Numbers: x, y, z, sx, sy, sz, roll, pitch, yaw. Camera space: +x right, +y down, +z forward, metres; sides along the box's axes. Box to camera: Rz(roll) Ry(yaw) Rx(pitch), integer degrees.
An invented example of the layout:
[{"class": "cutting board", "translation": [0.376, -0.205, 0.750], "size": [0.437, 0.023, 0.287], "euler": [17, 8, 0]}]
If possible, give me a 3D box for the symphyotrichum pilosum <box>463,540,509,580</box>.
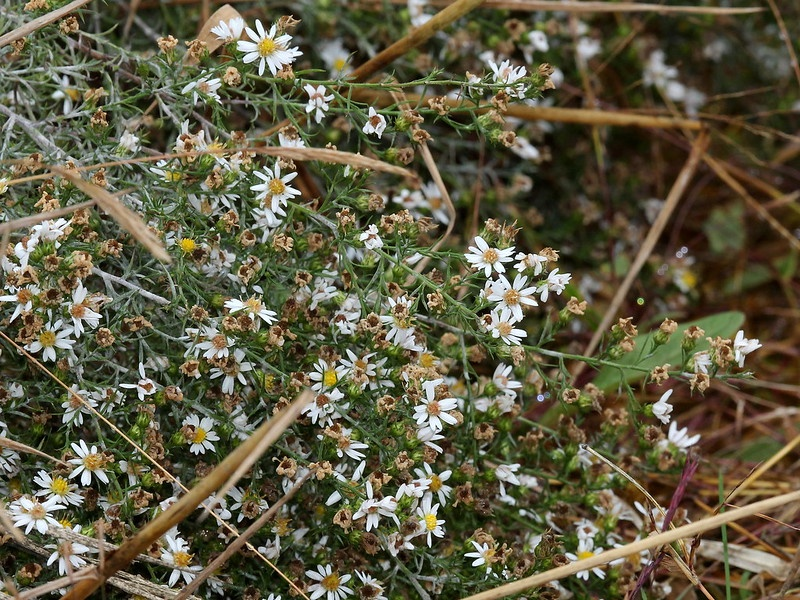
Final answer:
[{"class": "symphyotrichum pilosum", "translation": [0.224, 0.656, 2.211], "size": [0.087, 0.038, 0.094], "euler": [-5, 62, -9]}]
